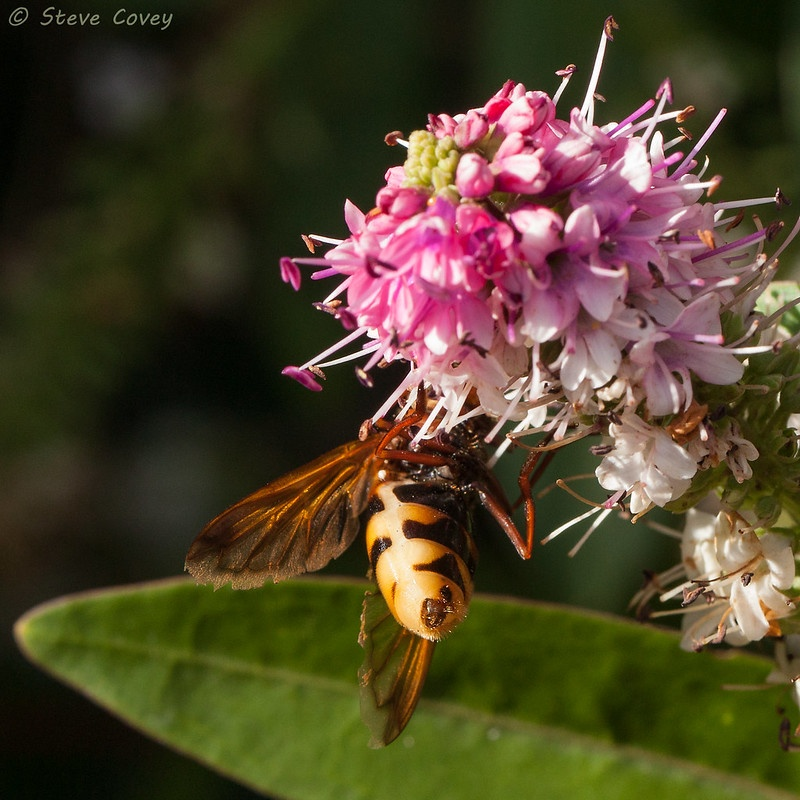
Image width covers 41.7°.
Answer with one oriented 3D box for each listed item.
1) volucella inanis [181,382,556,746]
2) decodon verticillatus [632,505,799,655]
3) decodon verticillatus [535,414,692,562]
[{"bbox_3d":[0.029,0.197,1.816,0.440,0.172,0.564,-33,17,25],"label":"volucella inanis"},{"bbox_3d":[0.531,0.313,1.740,0.170,0.241,0.367,-13,0,-2],"label":"decodon verticillatus"},{"bbox_3d":[0.349,0.122,1.565,0.120,0.175,0.116,9,27,17],"label":"decodon verticillatus"}]
